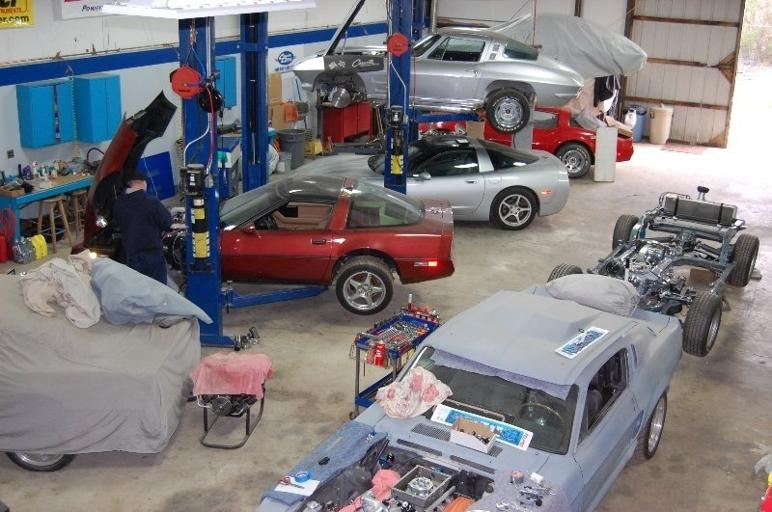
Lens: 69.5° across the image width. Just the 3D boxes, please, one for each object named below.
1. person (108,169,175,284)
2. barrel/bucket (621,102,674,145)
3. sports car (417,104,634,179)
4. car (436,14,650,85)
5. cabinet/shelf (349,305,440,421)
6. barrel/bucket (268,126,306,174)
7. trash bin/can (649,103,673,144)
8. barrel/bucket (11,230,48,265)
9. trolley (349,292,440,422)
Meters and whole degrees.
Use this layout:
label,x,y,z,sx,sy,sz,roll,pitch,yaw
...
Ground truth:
label,x,y,z,sx,sy,sz,roll,pitch,yaw
person,-3.880,-0.174,9.005,0.851,2.411,0.811,-4,28,-17
barrel/bucket,10.246,-5.149,22.006,1.942,1.665,1.601,5,11,32
sports car,4.398,-3.646,17.028,5.648,1.688,2.680,7,18,5
car,5.078,-6.361,18.051,7.091,2.347,2.446,-7,4,-12
cabinet/shelf,0.106,1.275,6.464,0.773,1.200,1.038,20,35,31
barrel/bucket,-2.746,-3.030,15.997,1.128,1.123,1.130,-1,10,0
trash bin/can,10.655,-5.097,21.596,0.791,1.427,1.188,18,27,38
barrel/bucket,-7.071,-0.120,11.009,0.621,0.436,0.481,-15,26,-33
trolley,0.063,1.232,6.751,0.887,1.377,1.131,16,33,29
